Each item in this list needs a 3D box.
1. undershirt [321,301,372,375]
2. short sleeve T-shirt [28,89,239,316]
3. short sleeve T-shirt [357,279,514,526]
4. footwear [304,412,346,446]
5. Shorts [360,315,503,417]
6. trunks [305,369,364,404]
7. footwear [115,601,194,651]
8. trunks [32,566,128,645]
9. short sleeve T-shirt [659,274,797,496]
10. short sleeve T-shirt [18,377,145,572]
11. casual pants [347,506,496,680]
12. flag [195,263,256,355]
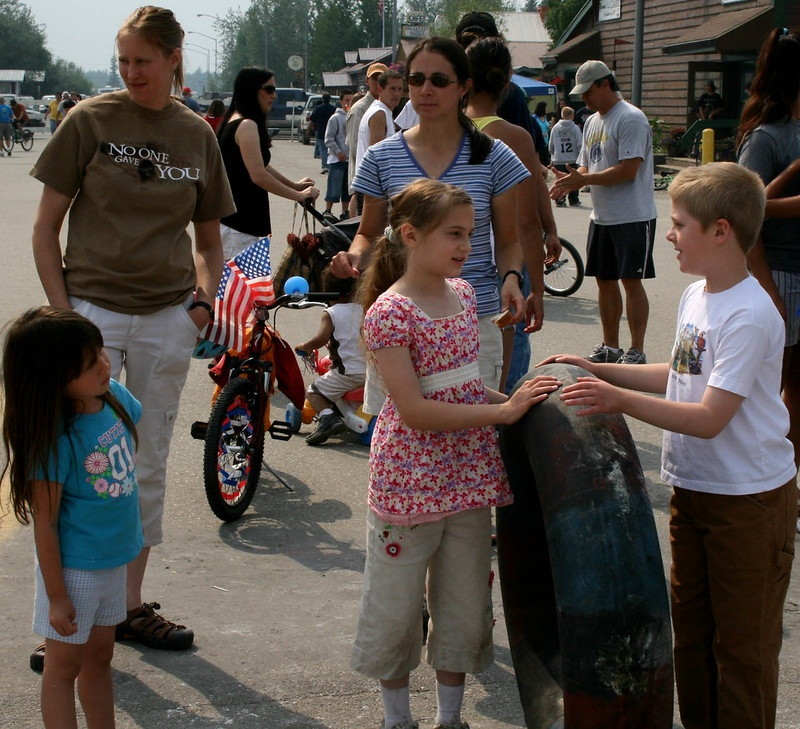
[{"bbox_3d":[-0.310,-0.177,5.864,0.232,0.367,0.281,1,7,32],"label":"undershirt"},{"bbox_3d":[-0.942,-0.592,3.694,0.719,0.786,0.310,-10,17,-44],"label":"short sleeve T-shirt"},{"bbox_3d":[0.193,0.119,3.090,0.558,0.712,0.376,-4,-7,5],"label":"short sleeve T-shirt"},{"bbox_3d":[-0.420,0.369,5.897,0.069,0.192,0.125,35,24,-45],"label":"footwear"},{"bbox_3d":[0.091,0.001,3.014,0.403,0.442,0.246,-1,1,-8],"label":"Shorts"},{"bbox_3d":[-0.366,0.124,5.836,0.276,0.163,0.156,9,19,30],"label":"trunks"},{"bbox_3d":[-0.864,0.948,3.698,0.315,0.135,0.127,3,5,12],"label":"footwear"},{"bbox_3d":[-0.913,0.675,2.918,0.254,0.232,0.214,-2,12,-17],"label":"trunks"},{"bbox_3d":[0.915,0.057,2.881,0.365,0.603,0.326,10,15,34],"label":"short sleeve T-shirt"},{"bbox_3d":[-0.860,0.352,2.920,0.151,0.468,0.333,7,13,22],"label":"short sleeve T-shirt"},{"bbox_3d":[0.076,0.682,3.078,0.428,0.511,0.224,1,12,-3],"label":"casual pants"},{"bbox_3d":[-0.780,-0.250,4.550,0.053,0.327,0.363,7,36,29],"label":"flag"}]
